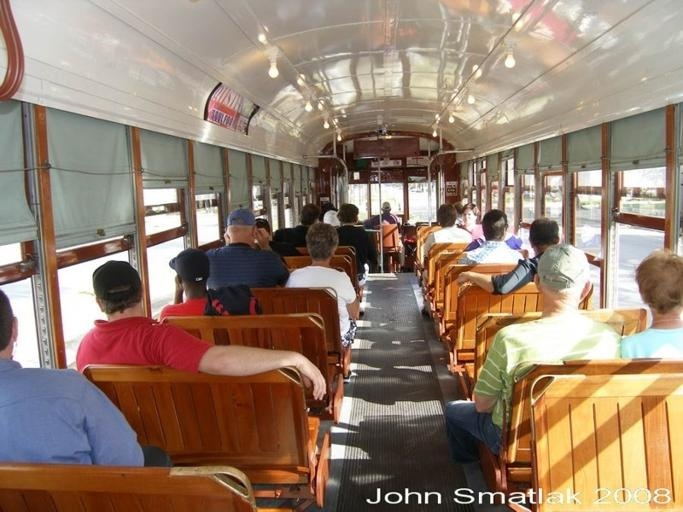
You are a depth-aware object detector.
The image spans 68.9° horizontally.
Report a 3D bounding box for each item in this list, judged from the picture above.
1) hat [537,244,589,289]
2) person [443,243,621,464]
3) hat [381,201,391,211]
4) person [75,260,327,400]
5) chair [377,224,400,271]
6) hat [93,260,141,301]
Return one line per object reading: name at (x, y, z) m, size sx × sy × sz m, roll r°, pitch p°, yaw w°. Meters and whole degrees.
hat at (1.332, 0.045, 3.015) m, size 0.283 × 0.225 × 0.413 m, roll -7°, pitch 5°, yaw 36°
person at (1.231, 0.778, 3.413) m, size 0.922 × 1.645 × 1.263 m, roll 2°, pitch 1°, yaw -9°
hat at (1.159, -1.326, 12.948) m, size 0.253 × 0.313 × 0.343 m, roll -3°, pitch 6°, yaw 2°
person at (-0.879, 0.472, 3.226) m, size 1.069 × 1.166 × 0.321 m, roll 1°, pitch 40°, yaw 6°
chair at (1.278, -0.224, 13.280) m, size 0.643 × 1.050 × 0.691 m, roll -3°, pitch -2°, yaw -10°
hat at (-1.299, 0.113, 2.832) m, size 0.254 × 0.209 × 0.365 m, roll -13°, pitch 12°, yaw -37°
